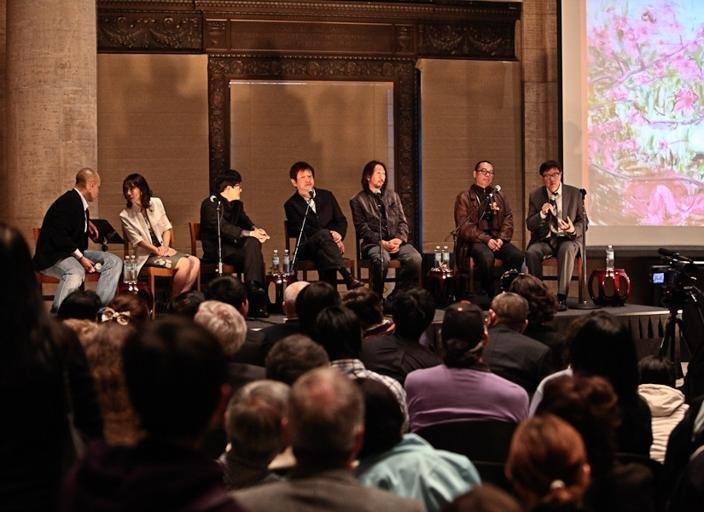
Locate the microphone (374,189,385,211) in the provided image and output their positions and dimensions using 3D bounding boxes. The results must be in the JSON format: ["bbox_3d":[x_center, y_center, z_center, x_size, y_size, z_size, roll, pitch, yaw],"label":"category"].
[{"bbox_3d":[0.270,-0.530,6.692,0.062,0.178,0.122,-3,-4,9],"label":"microphone"}]

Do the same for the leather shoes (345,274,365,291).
[{"bbox_3d":[0.000,0.239,5.954,0.086,0.116,0.263,-37,7,-25],"label":"leather shoes"}]

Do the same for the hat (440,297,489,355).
[{"bbox_3d":[0.466,0.293,2.852,0.132,0.120,0.215,-2,23,15],"label":"hat"}]

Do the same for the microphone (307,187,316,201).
[{"bbox_3d":[-0.387,-0.579,6.626,0.032,0.095,0.067,-5,9,42],"label":"microphone"}]

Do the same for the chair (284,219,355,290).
[{"bbox_3d":[-0.287,0.048,6.175,0.427,0.823,0.558,-1,-2,-36],"label":"chair"}]

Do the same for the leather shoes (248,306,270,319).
[{"bbox_3d":[-0.792,0.494,5.872,0.218,0.101,0.076,-2,2,2],"label":"leather shoes"}]
